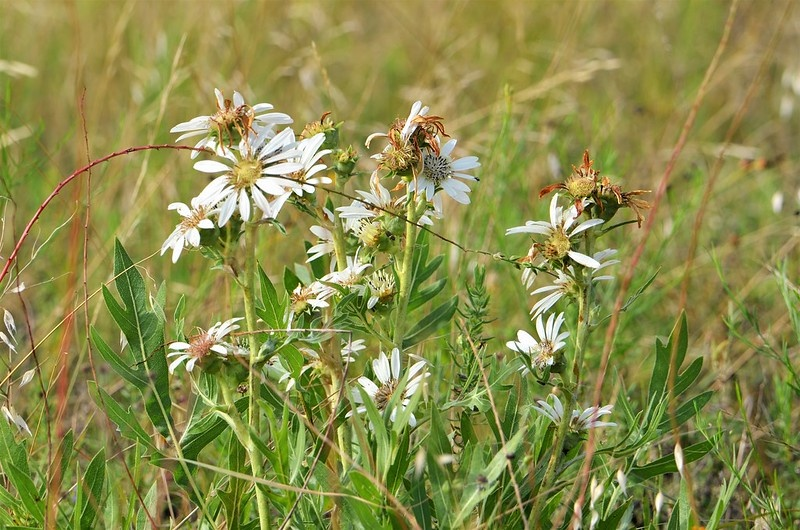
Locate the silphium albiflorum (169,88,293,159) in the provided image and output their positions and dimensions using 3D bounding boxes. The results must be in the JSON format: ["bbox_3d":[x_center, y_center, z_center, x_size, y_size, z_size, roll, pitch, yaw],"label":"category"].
[{"bbox_3d":[-0.827,-0.668,4.847,0.515,0.263,0.673,-4,1,18],"label":"silphium albiflorum"}]

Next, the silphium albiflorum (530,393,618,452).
[{"bbox_3d":[0.869,0.758,4.918,0.294,0.193,0.311,0,30,-46],"label":"silphium albiflorum"}]

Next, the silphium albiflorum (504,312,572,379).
[{"bbox_3d":[0.717,0.421,4.842,0.263,0.314,0.142,29,52,29],"label":"silphium albiflorum"}]

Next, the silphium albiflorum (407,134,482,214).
[{"bbox_3d":[0.224,-0.423,4.890,0.294,0.357,0.294,11,39,12],"label":"silphium albiflorum"}]
